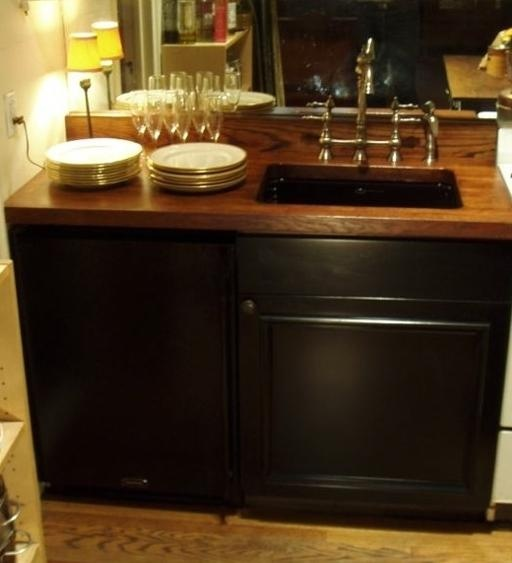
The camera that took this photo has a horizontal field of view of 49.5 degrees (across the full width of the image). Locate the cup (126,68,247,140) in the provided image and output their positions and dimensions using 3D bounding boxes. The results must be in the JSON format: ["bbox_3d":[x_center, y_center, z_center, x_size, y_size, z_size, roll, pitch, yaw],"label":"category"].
[{"bbox_3d":[-0.248,-0.554,1.782,0.413,0.243,0.294,-3,16,-8],"label":"cup"}]

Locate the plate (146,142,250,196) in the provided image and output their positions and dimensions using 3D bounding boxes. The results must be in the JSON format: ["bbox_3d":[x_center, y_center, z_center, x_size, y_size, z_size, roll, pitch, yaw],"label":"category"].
[{"bbox_3d":[-0.166,-0.327,1.606,0.276,0.119,0.301,-4,17,-11],"label":"plate"}]

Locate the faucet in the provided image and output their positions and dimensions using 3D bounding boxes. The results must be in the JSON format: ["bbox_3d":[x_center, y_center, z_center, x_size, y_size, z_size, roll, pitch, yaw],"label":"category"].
[{"bbox_3d":[0.331,-0.527,1.651,0.294,0.391,0.184,2,21,6],"label":"faucet"}]

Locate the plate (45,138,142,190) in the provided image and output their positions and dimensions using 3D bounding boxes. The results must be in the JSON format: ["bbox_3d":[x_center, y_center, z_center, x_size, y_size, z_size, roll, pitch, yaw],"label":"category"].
[{"bbox_3d":[-0.474,-0.350,1.647,0.289,0.123,0.317,-16,23,-41],"label":"plate"}]
